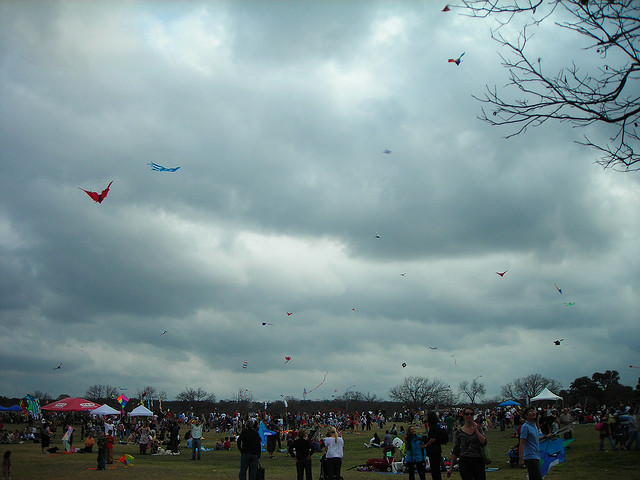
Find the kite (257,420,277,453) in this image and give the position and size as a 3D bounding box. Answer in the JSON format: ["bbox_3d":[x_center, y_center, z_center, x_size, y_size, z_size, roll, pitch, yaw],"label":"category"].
[{"bbox_3d":[-3.437,12.369,47.205,0.898,1.950,2.820,3,-22,-3],"label":"kite"}]
